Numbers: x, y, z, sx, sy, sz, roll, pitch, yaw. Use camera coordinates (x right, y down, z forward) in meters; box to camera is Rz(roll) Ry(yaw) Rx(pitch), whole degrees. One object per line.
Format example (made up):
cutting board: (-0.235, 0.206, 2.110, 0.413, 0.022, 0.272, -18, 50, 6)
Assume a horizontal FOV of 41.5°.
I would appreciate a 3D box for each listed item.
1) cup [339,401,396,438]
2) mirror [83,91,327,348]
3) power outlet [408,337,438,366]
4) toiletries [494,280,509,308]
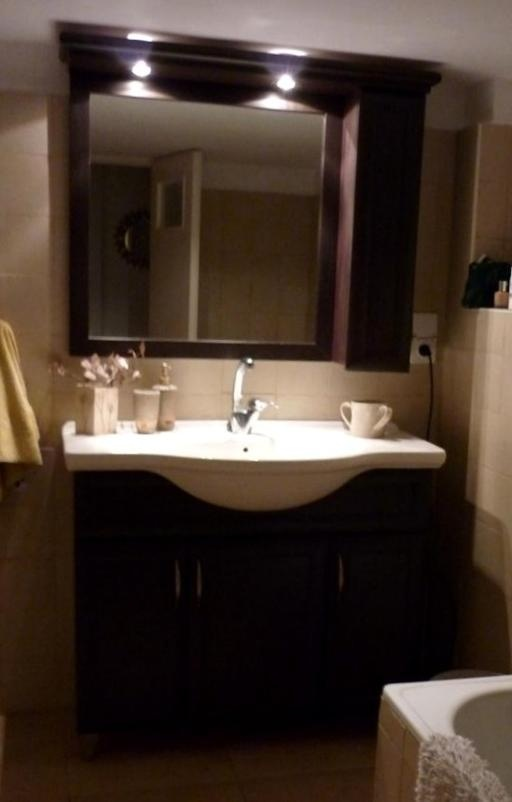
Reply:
cup: (0.317, 0.030, 1.899, 0.079, 0.114, 0.141, -1, 13, -13)
mirror: (-0.167, -0.526, 1.876, 0.521, 0.676, 0.039, 1, 4, -14)
power outlet: (0.519, -0.153, 2.103, 0.073, 0.107, 0.022, 1, 14, -3)
toiletries: (0.669, -0.284, 1.843, 0.037, 0.073, 0.053, 2, 2, 22)
